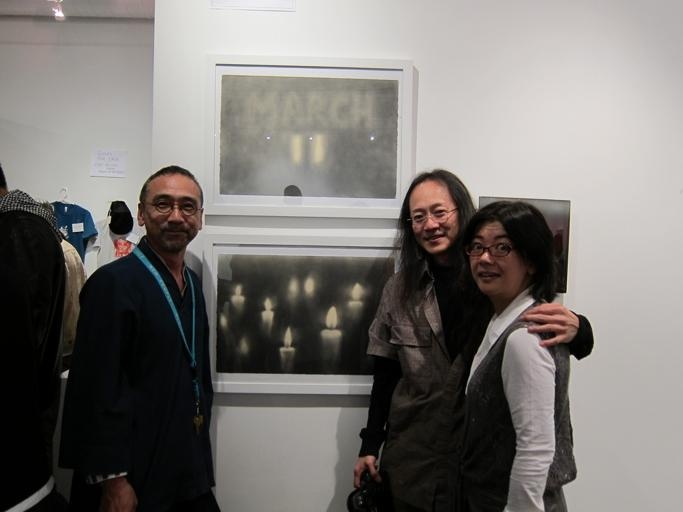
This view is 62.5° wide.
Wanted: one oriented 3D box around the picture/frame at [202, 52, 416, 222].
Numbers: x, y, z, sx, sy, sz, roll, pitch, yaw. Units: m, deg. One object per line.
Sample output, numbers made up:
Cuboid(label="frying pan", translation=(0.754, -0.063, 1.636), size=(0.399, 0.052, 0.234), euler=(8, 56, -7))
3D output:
Cuboid(label="picture/frame", translation=(-0.187, -0.600, 2.889), size=(1.085, 0.891, 0.049), euler=(2, -6, 3))
